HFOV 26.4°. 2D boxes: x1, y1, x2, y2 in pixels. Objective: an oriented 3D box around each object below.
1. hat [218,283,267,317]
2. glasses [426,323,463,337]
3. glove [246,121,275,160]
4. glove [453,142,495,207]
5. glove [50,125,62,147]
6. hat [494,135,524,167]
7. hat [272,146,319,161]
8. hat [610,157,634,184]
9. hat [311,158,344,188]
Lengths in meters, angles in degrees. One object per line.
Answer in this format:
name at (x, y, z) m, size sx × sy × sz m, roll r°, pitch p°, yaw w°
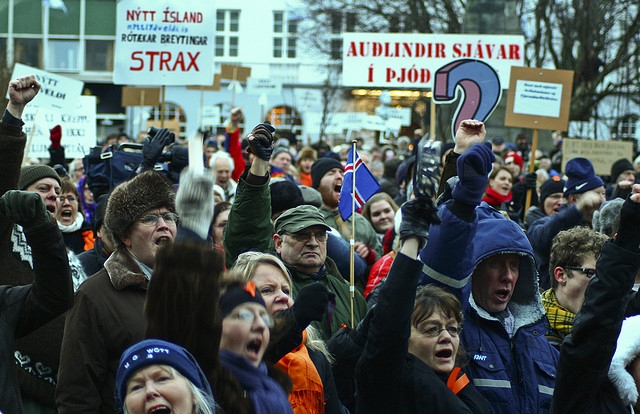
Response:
hat at (-0.827, 0.988, 14.255) m, size 0.392 × 0.224 × 0.312 m, roll -5°, pitch -25°, yaw -40°
glasses at (1.361, 1.361, 15.153) m, size 0.422 × 0.139 × 0.069 m, roll 4°, pitch 5°, yaw -13°
glove at (-0.685, -0.749, 15.759) m, size 0.362 × 0.426 × 0.273 m, roll -4°, pitch -9°, yaw 33°
glove at (1.698, -0.366, 14.946) m, size 0.254 × 0.624 × 0.486 m, roll 24°, pitch 21°, yaw 36°
glove at (-3.878, -1.038, 20.033) m, size 0.151 × 0.308 × 0.100 m, roll -2°, pitch -4°, yaw 31°
hat at (3.166, -0.979, 23.031) m, size 0.439 × 0.299 × 0.627 m, roll 23°, pitch 6°, yaw -9°
hat at (-0.354, -0.845, 21.812) m, size 0.499 × 0.264 × 0.322 m, roll 5°, pitch -3°, yaw 8°
hat at (4.560, -0.540, 20.682) m, size 0.267 × 0.371 × 0.388 m, roll 3°, pitch -27°, yaw -6°
hat at (0.093, -0.528, 18.544) m, size 0.410 × 0.396 × 0.327 m, roll -24°, pitch -7°, yaw 35°
